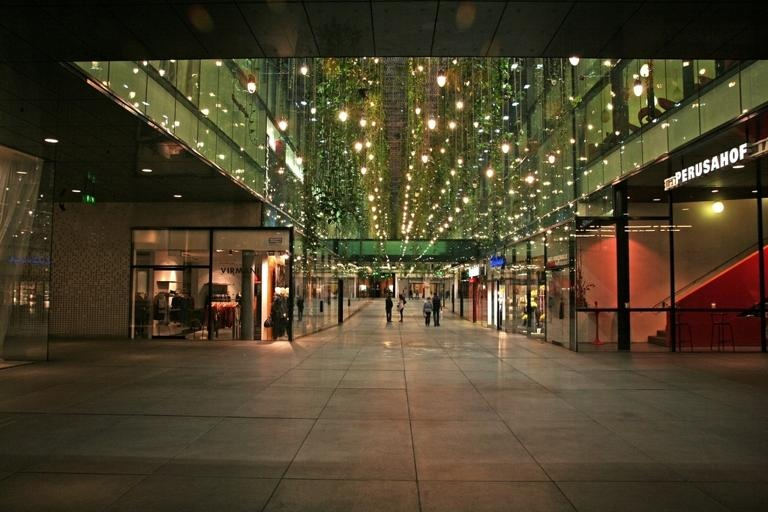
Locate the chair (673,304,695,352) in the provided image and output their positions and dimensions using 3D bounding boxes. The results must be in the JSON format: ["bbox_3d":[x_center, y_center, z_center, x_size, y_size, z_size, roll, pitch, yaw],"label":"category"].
[{"bbox_3d":[10.073,2.470,19.848,0.828,1.387,0.374,1,4,2],"label":"chair"}]

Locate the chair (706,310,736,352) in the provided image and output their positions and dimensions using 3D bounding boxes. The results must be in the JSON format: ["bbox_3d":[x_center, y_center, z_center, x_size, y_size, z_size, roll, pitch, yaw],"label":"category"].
[{"bbox_3d":[11.346,2.507,19.676,0.760,1.243,0.380,3,4,30],"label":"chair"}]
